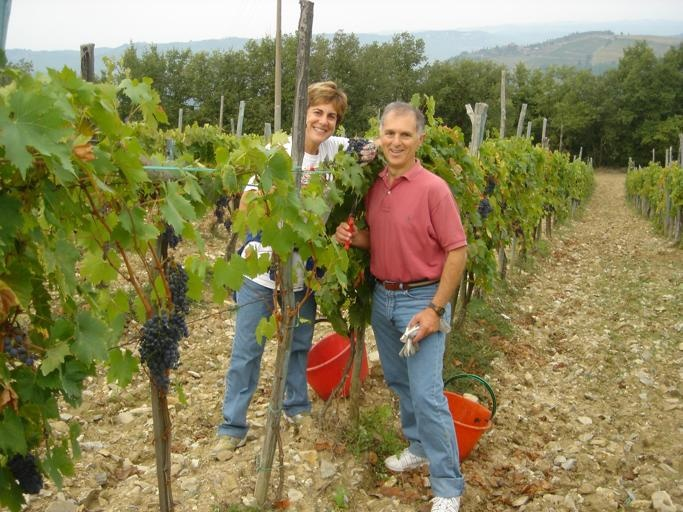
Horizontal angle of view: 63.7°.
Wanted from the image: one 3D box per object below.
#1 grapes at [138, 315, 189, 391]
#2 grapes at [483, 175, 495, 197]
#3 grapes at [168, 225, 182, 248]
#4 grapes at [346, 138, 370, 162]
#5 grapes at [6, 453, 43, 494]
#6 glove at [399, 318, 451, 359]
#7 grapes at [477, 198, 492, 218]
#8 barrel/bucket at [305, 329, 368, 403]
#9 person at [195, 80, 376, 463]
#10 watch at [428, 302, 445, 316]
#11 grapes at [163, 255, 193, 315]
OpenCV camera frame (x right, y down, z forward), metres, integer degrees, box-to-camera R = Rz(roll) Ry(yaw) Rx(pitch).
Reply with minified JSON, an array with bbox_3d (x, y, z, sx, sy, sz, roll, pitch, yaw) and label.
[{"bbox_3d":[-0.905,0.487,2.802,0.230,0.438,0.168,-3,13,-25],"label":"grapes"},{"bbox_3d":[1.821,-0.846,6.738,0.101,0.256,0.574,7,14,18],"label":"grapes"},{"bbox_3d":[-1.413,-0.158,4.631,0.131,0.229,0.125,-4,-8,36],"label":"grapes"},{"bbox_3d":[0.126,-0.763,3.896,0.153,0.121,0.196,4,14,-12],"label":"grapes"},{"bbox_3d":[-1.359,0.929,2.345,0.074,0.214,0.113,-20,1,31],"label":"grapes"},{"bbox_3d":[0.507,0.552,3.634,0.194,0.363,0.135,14,9,7],"label":"glove"},{"bbox_3d":[1.596,-0.526,6.138,0.163,0.211,0.073,12,27,18],"label":"grapes"},{"bbox_3d":[-0.044,0.939,4.844,0.528,0.418,0.582,-8,17,40],"label":"barrel/bucket"},{"bbox_3d":[-0.386,0.091,4.337,1.055,3.153,1.056,8,16,-36],"label":"person"},{"bbox_3d":[0.623,0.358,3.613,0.100,0.065,0.103,39,-13,-3],"label":"watch"},{"bbox_3d":[-0.873,0.176,2.896,0.129,0.336,0.138,0,11,1],"label":"grapes"}]
